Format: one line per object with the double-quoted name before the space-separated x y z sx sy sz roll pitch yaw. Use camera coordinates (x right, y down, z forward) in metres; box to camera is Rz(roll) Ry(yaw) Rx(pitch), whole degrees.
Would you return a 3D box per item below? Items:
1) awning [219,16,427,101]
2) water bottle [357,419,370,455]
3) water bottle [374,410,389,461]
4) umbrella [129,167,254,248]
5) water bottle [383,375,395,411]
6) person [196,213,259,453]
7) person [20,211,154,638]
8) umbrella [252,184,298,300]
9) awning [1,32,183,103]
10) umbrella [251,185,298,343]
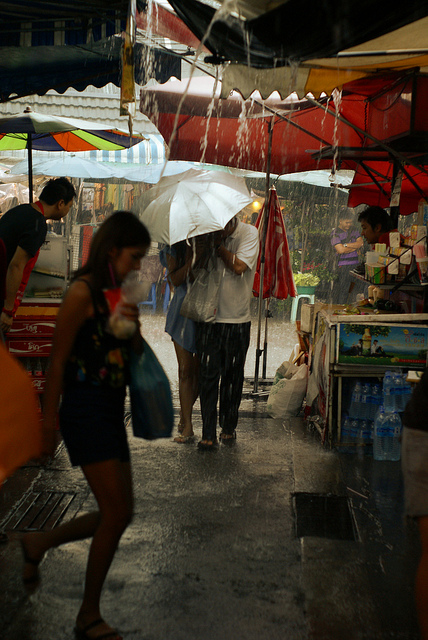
"awning" 0.781 -1.527 2.752 0.740 0.228 0.694 -14 5 -43
"water bottle" 1.349 1.050 4.186 0.109 0.230 0.024 1 1 -7
"water bottle" 1.458 1.001 4.022 0.124 0.335 0.074 1 1 3
"umbrella" -0.184 -1.052 4.389 1.067 0.789 0.857 1 1 -9
"water bottle" 1.518 0.636 4.019 0.091 0.244 0.052 1 1 21
"person" 0.123 0.086 4.549 0.617 2.217 0.492 1 1 -17
"person" -0.416 0.387 1.653 0.362 1.557 0.277 1 1 -19
"umbrella" 0.813 -1.125 6.459 0.671 1.675 0.685 1 1 -22
"awning" -1.200 -2.294 4.207 1.060 0.341 1.227 -1 10 -3
"umbrella" 0.871 -0.833 6.575 0.611 2.285 1.258 1 1 7
